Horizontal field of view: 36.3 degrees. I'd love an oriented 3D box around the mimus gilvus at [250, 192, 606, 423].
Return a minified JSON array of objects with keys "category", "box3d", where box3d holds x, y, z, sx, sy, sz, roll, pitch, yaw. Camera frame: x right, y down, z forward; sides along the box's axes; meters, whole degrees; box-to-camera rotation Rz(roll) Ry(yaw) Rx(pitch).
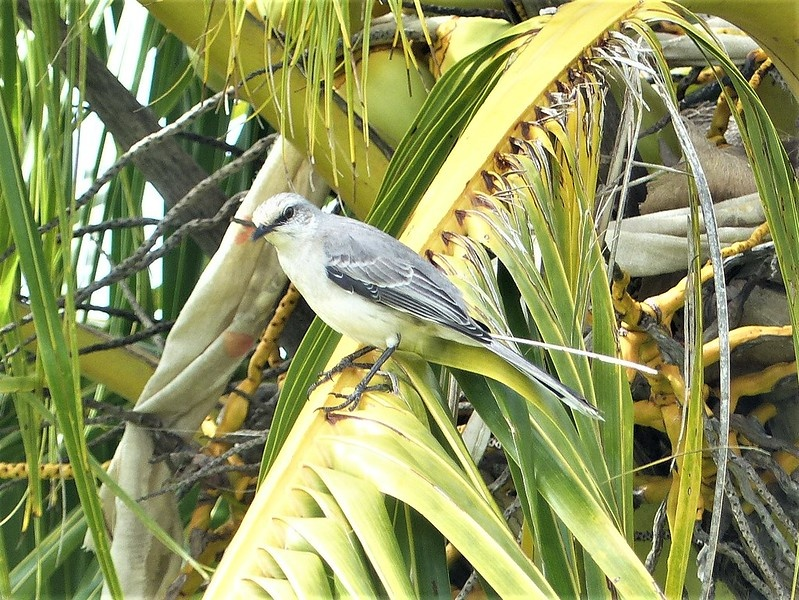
[{"category":"mimus gilvus","box3d":[0.062,0.021,2.775,0.769,0.498,0.247,3,-9,6]}]
